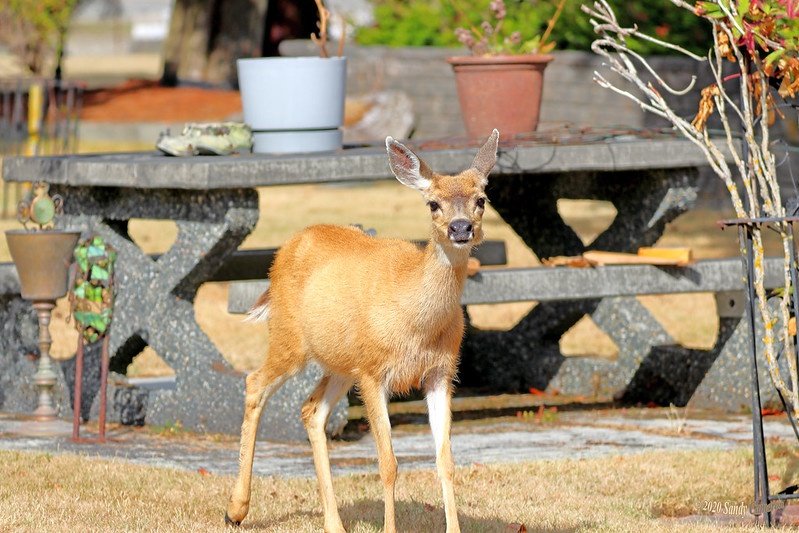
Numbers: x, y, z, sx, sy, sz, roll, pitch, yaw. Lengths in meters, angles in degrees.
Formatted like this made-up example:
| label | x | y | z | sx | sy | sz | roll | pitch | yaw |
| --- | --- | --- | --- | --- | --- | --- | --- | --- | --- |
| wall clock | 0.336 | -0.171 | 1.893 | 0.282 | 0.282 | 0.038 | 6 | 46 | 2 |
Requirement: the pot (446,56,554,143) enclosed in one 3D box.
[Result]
| label | x | y | z | sx | sy | sz | roll | pitch | yaw |
| --- | --- | --- | --- | --- | --- | --- | --- | --- | --- |
| pot | 1.019 | -1.860 | 21.709 | 1.138 | 0.948 | 1.189 | -1 | 16 | 0 |

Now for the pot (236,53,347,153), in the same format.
| label | x | y | z | sx | sy | sz | roll | pitch | yaw |
| --- | --- | --- | --- | --- | --- | --- | --- | --- | --- |
| pot | -1.019 | -1.605 | 21.302 | 1.182 | 1.088 | 1.213 | 0 | -2 | 0 |

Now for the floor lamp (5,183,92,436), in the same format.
| label | x | y | z | sx | sy | sz | roll | pitch | yaw |
| --- | --- | --- | --- | --- | --- | --- | --- | --- | --- |
| floor lamp | -3.520 | 0.297 | 20.604 | 0.612 | 2.185 | 0.839 | 10 | 22 | 32 |
